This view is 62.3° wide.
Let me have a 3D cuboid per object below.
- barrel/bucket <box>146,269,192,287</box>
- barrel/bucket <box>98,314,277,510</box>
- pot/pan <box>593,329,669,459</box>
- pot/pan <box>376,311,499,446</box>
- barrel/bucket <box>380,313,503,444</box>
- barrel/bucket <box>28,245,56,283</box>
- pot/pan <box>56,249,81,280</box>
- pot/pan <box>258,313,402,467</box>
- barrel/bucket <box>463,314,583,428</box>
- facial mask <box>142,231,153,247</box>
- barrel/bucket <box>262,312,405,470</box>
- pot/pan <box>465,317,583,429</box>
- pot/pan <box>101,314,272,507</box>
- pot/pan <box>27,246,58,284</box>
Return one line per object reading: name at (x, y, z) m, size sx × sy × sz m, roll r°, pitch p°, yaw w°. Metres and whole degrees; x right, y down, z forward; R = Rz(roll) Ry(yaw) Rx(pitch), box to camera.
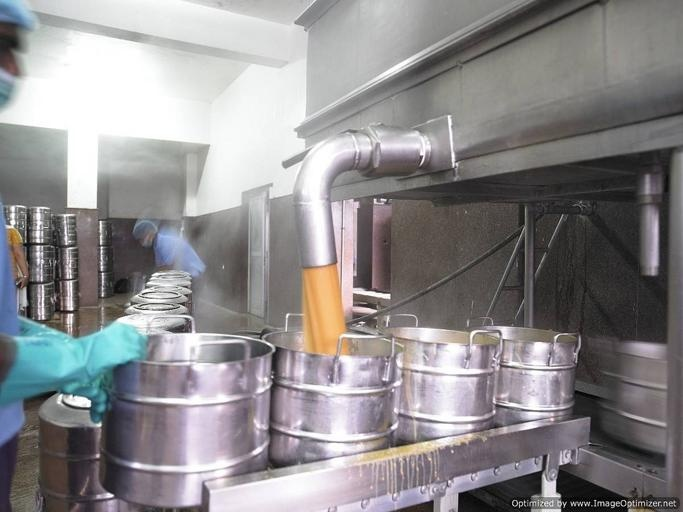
barrel/bucket at (-1.724, 0.229, 5.704) m, size 0.350 × 0.120 × 0.357 m, roll 2°, pitch 0°, yaw 0°
barrel/bucket at (-0.450, 0.366, 1.676) m, size 0.475 × 0.450 × 0.510 m, roll 1°, pitch 1°, yaw 0°
pot/pan at (0.979, 0.465, 1.911) m, size 0.310 × 0.319 × 0.312 m, roll 0°, pitch 1°, yaw -3°
pot/pan at (0.354, 0.381, 1.943) m, size 0.352 × 0.339 × 0.382 m, roll -1°, pitch 2°, yaw -28°
barrel/bucket at (0.353, 0.374, 1.943) m, size 0.345 × 0.330 × 0.373 m, roll 1°, pitch 3°, yaw 0°
barrel/bucket at (-4.218, 0.117, 7.920) m, size 0.436 × 0.701 × 0.436 m, roll 1°, pitch 2°, yaw 0°
pot/pan at (-4.274, 0.125, 8.746) m, size 0.413 × 0.659 × 0.440 m, roll 0°, pitch 0°, yaw -21°
pot/pan at (-0.039, 0.337, 1.770) m, size 0.406 × 0.387 × 0.429 m, roll -1°, pitch 2°, yaw -28°
barrel/bucket at (0.652, 0.405, 2.041) m, size 0.321 × 0.246 × 0.359 m, roll 2°, pitch -3°, yaw -9°
facial mask at (-2.160, -0.182, 6.398) m, size 0.159 × 0.151 × 0.153 m, roll -2°, pitch 19°, yaw -33°
barrel/bucket at (-0.007, 0.371, 1.790) m, size 0.408 × 0.388 × 0.428 m, roll 0°, pitch 1°, yaw 0°
pot/pan at (0.654, 0.416, 2.045) m, size 0.350 × 0.242 × 0.311 m, roll 0°, pitch 2°, yaw -14°
pot/pan at (-0.445, 0.357, 1.678) m, size 0.475 × 0.448 × 0.509 m, roll 1°, pitch 2°, yaw -26°
pot/pan at (-4.222, 0.100, 8.085) m, size 0.436 × 0.692 × 0.429 m, roll 0°, pitch 2°, yaw -26°
